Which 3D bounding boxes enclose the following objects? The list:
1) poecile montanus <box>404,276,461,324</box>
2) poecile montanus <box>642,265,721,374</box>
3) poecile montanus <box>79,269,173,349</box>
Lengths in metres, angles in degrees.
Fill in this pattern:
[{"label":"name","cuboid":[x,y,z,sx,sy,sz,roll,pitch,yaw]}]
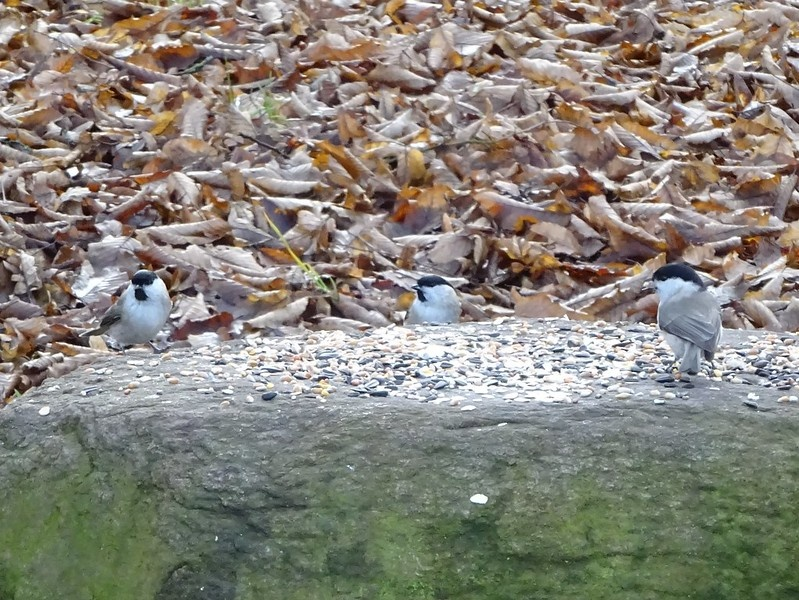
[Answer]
[{"label":"poecile montanus","cuboid":[0.187,0.012,4.981,0.353,0.249,0.252,7,-5,-45]},{"label":"poecile montanus","cuboid":[1.230,0.077,3.785,0.293,0.395,0.483,2,11,-12]},{"label":"poecile montanus","cuboid":[-1.389,0.072,4.662,0.537,0.313,0.330,-2,1,41]}]
